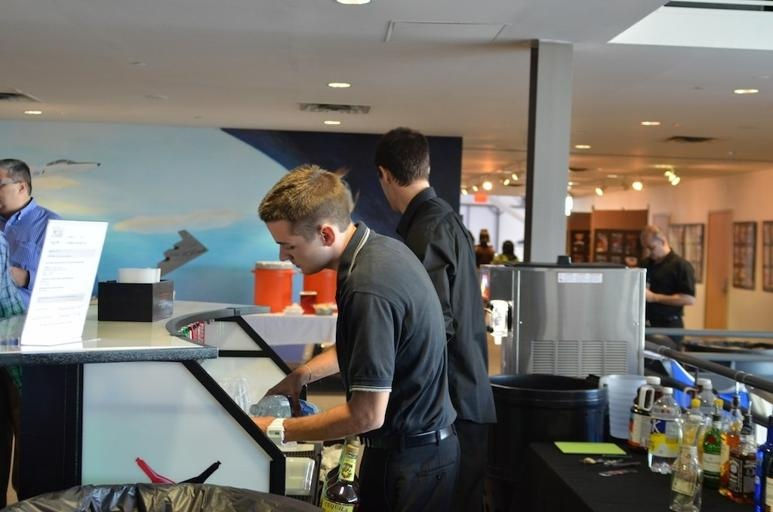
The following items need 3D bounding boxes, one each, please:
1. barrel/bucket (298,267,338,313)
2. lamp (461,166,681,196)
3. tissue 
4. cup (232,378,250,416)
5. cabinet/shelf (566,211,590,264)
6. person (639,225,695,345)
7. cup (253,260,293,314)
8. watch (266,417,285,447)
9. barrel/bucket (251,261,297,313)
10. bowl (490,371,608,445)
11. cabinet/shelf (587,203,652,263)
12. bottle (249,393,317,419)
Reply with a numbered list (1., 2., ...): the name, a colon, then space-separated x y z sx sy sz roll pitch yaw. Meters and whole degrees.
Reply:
1. barrel/bucket: -0.707 0.348 6.919 0.583 0.592 0.554 1 3 0
2. lamp: 3.049 -1.235 10.644 3.637 0.595 0.386 2 12 24
3. tissue : -1.129 0.168 3.015 0.345 0.229 0.233 1 3 0
4. cup: -0.692 0.664 3.161 0.080 0.160 0.276 1 0 -13
5. cabinet/shelf: 4.185 -0.449 14.492 0.471 1.049 0.798 1 0 14
6. person: 2.867 0.200 6.792 0.484 1.100 0.522 1 0 20
7. cup: -1.108 0.296 6.496 0.567 0.480 0.343 0 -5 -3
8. watch: -0.434 0.702 2.622 0.075 0.100 0.103 0 2 2
9. barrel/bucket: -1.115 0.291 6.556 0.554 0.465 0.338 0 -4 -4
10. bowl: 0.803 0.793 3.340 0.558 0.326 0.563 0 -2 0
11. cabinet/shelf: 4.515 -0.406 12.982 1.026 0.993 0.619 1 0 21
12. bottle: -0.481 0.685 3.048 0.261 0.086 0.137 0 -2 -7
